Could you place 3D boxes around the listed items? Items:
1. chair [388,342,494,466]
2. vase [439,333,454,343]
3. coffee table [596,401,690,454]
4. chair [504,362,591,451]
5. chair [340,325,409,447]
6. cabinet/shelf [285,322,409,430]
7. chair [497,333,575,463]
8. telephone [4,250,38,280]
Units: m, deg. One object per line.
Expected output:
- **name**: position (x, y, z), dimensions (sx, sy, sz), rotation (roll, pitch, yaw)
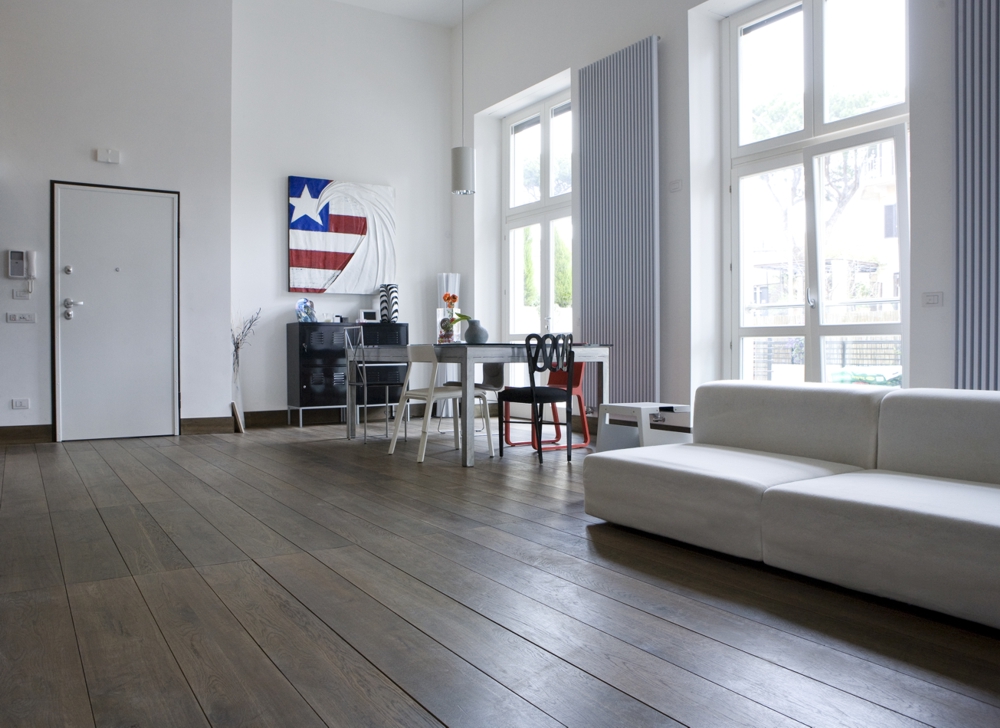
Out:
- **chair**: position (-0.521, 0.319, 6.027), dimensions (0.826, 1.014, 0.907), rotation (-1, 2, 14)
- **vase**: position (-0.487, -0.249, 6.446), dimensions (0.122, 0.137, 0.128), rotation (5, -6, -26)
- **coffee table**: position (1.106, 0.454, 5.076), dimensions (0.565, 0.472, 0.584), rotation (-2, 3, -29)
- **chair**: position (0.425, 0.326, 6.455), dimensions (0.579, 0.998, 0.538), rotation (-2, 0, -29)
- **chair**: position (-1.313, 0.164, 7.661), dimensions (0.680, 1.162, 0.653), rotation (-3, 8, -35)
- **cabinet/shelf**: position (-1.829, 0.072, 8.487), dimensions (1.300, 1.251, 0.486), rotation (-1, 10, -24)
- **chair**: position (0.295, 0.272, 5.902), dimensions (0.580, 1.068, 0.577), rotation (1, 2, 43)
- **telephone**: position (-4.618, -0.910, 6.750), dimensions (0.234, 0.359, 0.337), rotation (2, 1, 36)
